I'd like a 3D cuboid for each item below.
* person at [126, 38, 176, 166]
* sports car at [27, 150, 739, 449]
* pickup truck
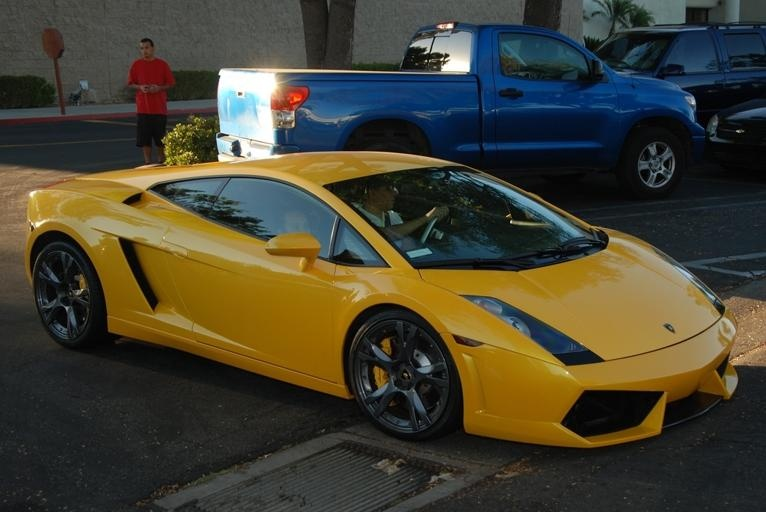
[{"bbox_3d":[-4.833,-3.252,12.474,0.848,2.508,0.770,-12,20,-33],"label":"person"},{"bbox_3d":[-0.199,0.229,4.626,4.450,1.250,2.433,10,15,28],"label":"sports car"},{"bbox_3d":[1.510,-2.404,10.088,7.195,2.655,3.129,-3,12,-16],"label":"pickup truck"}]
